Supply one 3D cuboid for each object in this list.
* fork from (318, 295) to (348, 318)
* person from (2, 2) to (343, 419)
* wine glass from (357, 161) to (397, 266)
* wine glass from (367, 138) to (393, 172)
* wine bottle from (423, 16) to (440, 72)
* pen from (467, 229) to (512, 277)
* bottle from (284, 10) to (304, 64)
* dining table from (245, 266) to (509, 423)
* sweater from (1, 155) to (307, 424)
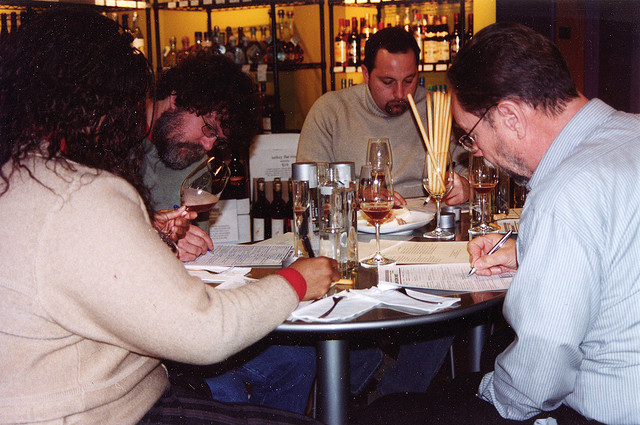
[{"bbox_3d":[0.040,0.252,1.518,0.025,0.018,0.149,5,20,17],"label":"fork"},{"bbox_3d":[-0.559,-0.072,1.960,0.939,1.544,0.976,-4,13,-28],"label":"person"},{"bbox_3d":[0.192,-0.003,1.889,0.119,0.304,0.275,-4,12,4],"label":"wine glass"},{"bbox_3d":[0.249,-0.258,2.423,0.114,0.188,0.125,1,4,-9],"label":"wine glass"},{"bbox_3d":[0.788,-1.238,3.925,0.107,0.359,0.106,-5,26,2],"label":"wine bottle"},{"bbox_3d":[0.550,0.136,1.782,0.163,0.017,0.017,-49,2,-22],"label":"pen"},{"bbox_3d":[-0.222,-1.325,4.135,0.162,0.400,0.209,15,27,34],"label":"bottle"},{"bbox_3d":[0.190,0.324,1.695,0.580,0.380,0.576,-2,11,-8],"label":"dining table"},{"bbox_3d":[-0.445,0.183,1.415,0.642,0.646,0.616,27,34,37],"label":"sweater"}]
